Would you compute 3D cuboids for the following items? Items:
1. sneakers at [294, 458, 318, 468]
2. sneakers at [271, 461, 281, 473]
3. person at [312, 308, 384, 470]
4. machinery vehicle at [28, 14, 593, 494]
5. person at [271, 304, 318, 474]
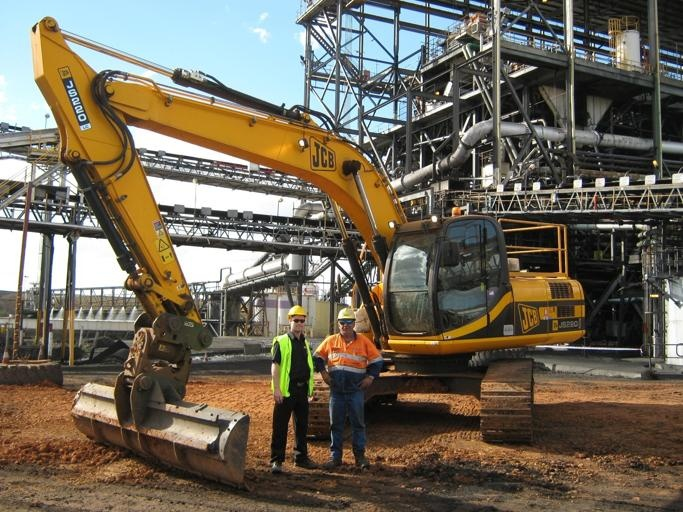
[{"bbox_3d":[-0.568,3.297,10.828,0.322,0.136,0.144,-1,-7,4],"label":"sneakers"},{"bbox_3d":[-1.010,3.252,10.503,0.174,0.158,0.237,-1,-5,-6],"label":"sneakers"},{"bbox_3d":[0.114,2.118,11.203,1.095,2.519,0.872,-2,-5,4],"label":"person"},{"bbox_3d":[0.248,0.371,13.747,11.685,7.083,6.054,1,-3,-38],"label":"machinery vehicle"},{"bbox_3d":[-0.826,2.081,10.920,0.685,2.550,0.925,-3,-5,8],"label":"person"}]
